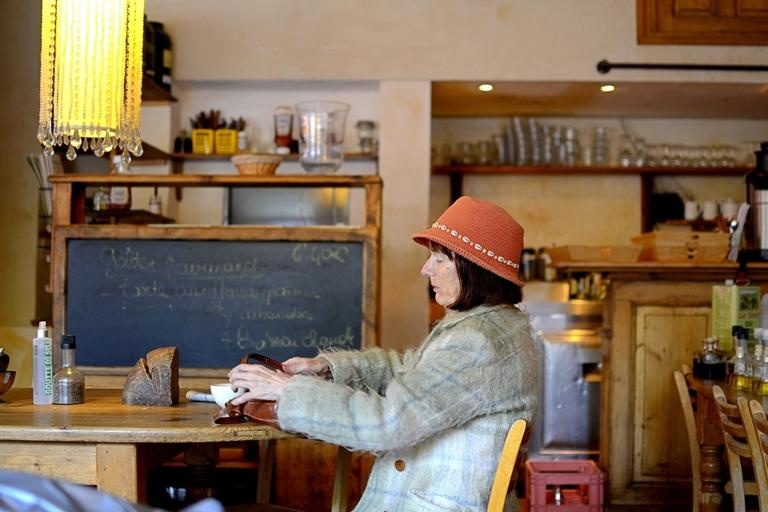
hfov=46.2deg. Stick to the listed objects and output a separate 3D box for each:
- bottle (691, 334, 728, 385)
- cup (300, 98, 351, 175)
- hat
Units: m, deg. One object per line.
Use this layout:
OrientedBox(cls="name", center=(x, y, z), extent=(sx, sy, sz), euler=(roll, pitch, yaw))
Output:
OrientedBox(cls="bottle", center=(2.019, 0.633, 5.532), extent=(0.195, 0.256, 0.172), euler=(0, 1, 16))
OrientedBox(cls="cup", center=(-0.359, -0.698, 5.436), extent=(0.419, 0.485, 0.384), euler=(0, -4, 0))
OrientedBox(cls="hat", center=(0.427, -0.116, 4.390), extent=(0.468, 0.262, 0.419), euler=(20, 0, 22))
